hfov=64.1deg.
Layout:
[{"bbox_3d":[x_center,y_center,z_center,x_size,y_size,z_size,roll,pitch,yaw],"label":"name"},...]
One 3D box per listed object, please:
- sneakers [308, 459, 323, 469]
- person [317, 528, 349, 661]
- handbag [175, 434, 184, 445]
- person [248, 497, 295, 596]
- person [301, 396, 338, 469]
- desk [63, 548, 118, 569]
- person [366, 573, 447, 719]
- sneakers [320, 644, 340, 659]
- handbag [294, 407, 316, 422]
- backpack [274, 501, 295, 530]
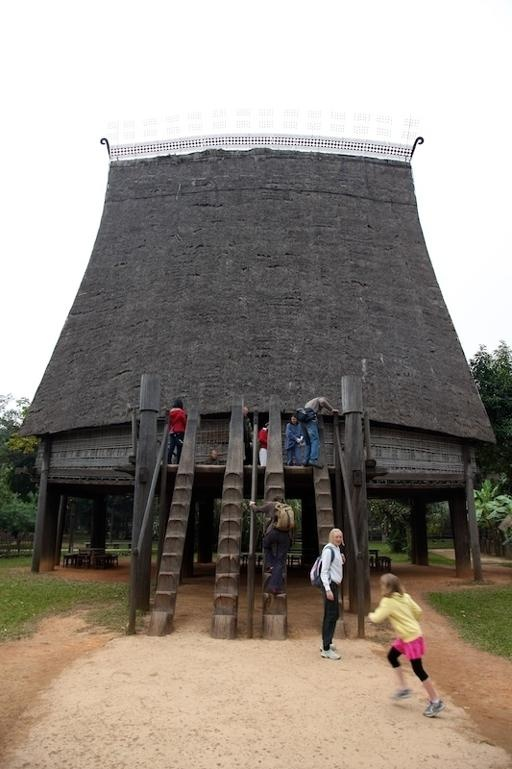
[{"bbox_3d":[1.158,1.538,7.814,0.345,0.161,0.117,-5,10,-31],"label":"sneakers"},{"bbox_3d":[0.974,2.700,5.317,0.321,1.500,1.078,-3,-19,10],"label":"person"},{"bbox_3d":[-1.801,1.282,9.648,0.185,0.282,0.091,3,1,-42],"label":"handbag"},{"bbox_3d":[0.278,2.481,6.097,0.506,1.319,0.765,0,-18,1],"label":"person"},{"bbox_3d":[1.256,0.954,8.240,0.593,1.490,0.896,-3,-19,11],"label":"person"},{"bbox_3d":[-6.604,7.182,16.553,1.861,0.683,2.952,19,-27,-40],"label":"desk"},{"bbox_3d":[1.361,2.399,3.793,0.548,1.110,0.811,-7,-20,21],"label":"person"},{"bbox_3d":[0.874,3.274,4.896,0.239,0.091,0.262,4,-21,-10],"label":"sneakers"},{"bbox_3d":[0.926,0.572,8.038,0.229,0.139,0.319,-11,12,-35],"label":"handbag"},{"bbox_3d":[0.409,1.978,6.040,0.271,0.424,0.342,-5,-19,14],"label":"backpack"}]
